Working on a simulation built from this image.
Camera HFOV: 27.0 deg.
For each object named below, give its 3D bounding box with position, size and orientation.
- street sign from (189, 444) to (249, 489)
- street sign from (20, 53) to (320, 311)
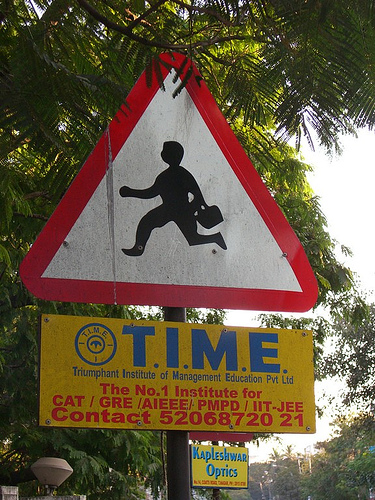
[{"bbox_3d":[0.419,2.745,9.812,0.732,0.524,0.397,3,-17,-9],"label":"street sign"},{"bbox_3d":[-0.046,-0.168,1.897,0.665,0.650,0.025,4,-18,-20],"label":"street sign"}]
